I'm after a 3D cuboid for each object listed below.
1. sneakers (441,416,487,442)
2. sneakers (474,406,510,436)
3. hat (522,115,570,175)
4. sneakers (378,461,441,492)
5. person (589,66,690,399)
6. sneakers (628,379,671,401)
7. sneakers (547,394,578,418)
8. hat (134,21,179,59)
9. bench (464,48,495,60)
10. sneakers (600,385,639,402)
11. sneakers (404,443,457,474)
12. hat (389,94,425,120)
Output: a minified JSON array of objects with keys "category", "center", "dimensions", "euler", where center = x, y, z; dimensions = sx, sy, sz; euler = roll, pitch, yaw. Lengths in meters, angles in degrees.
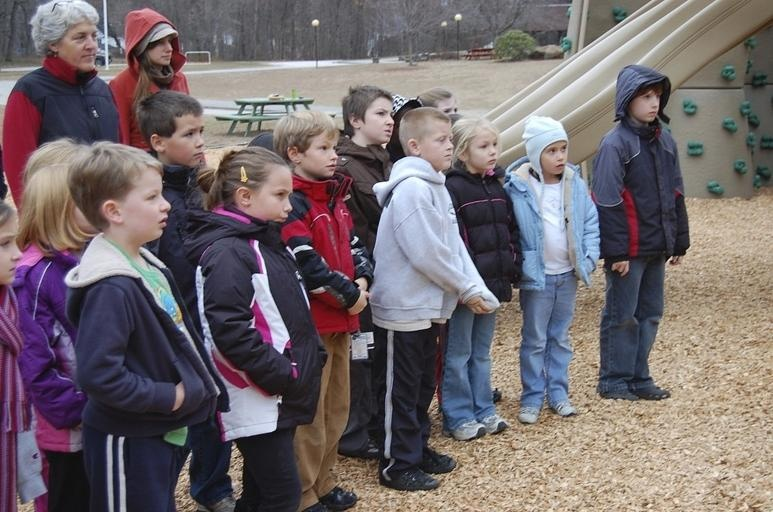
[{"category":"sneakers","center":[0.537,1.165,5.709],"dimensions":[0.288,0.134,0.117],"euler":[-6,6,26]},{"category":"sneakers","center":[0.724,1.143,5.787],"dimensions":[0.099,0.105,0.227],"euler":[-7,3,-36]},{"category":"hat","center":[1.114,-0.756,5.967],"dimensions":[0.328,0.426,0.321],"euler":[-10,16,-30]},{"category":"sneakers","center":[0.157,1.357,5.335],"dimensions":[0.382,0.175,0.146],"euler":[0,11,8]},{"category":"person","center":[1.819,-0.164,6.044],"dimensions":[0.761,2.318,0.486],"euler":[-8,10,-19]},{"category":"sneakers","center":[1.889,0.953,6.060],"dimensions":[0.262,0.115,0.108],"euler":[-3,18,25]},{"category":"sneakers","center":[1.226,1.042,5.974],"dimensions":[0.093,0.115,0.247],"euler":[-9,12,-32]},{"category":"hat","center":[-1.580,-1.447,5.826],"dimensions":[0.257,0.112,0.184],"euler":[-25,-2,24]},{"category":"bench","center":[4.786,-10.100,43.170],"dimensions":[1.467,0.626,1.493],"euler":[-2,10,18]},{"category":"sneakers","center":[1.671,0.976,6.080],"dimensions":[0.276,0.121,0.096],"euler":[-2,4,16]},{"category":"sneakers","center":[0.309,1.292,5.390],"dimensions":[0.266,0.116,0.122],"euler":[-1,12,11]},{"category":"hat","center":[0.153,-1.087,6.175],"dimensions":[0.202,0.183,0.200],"euler":[-15,48,-3]}]
